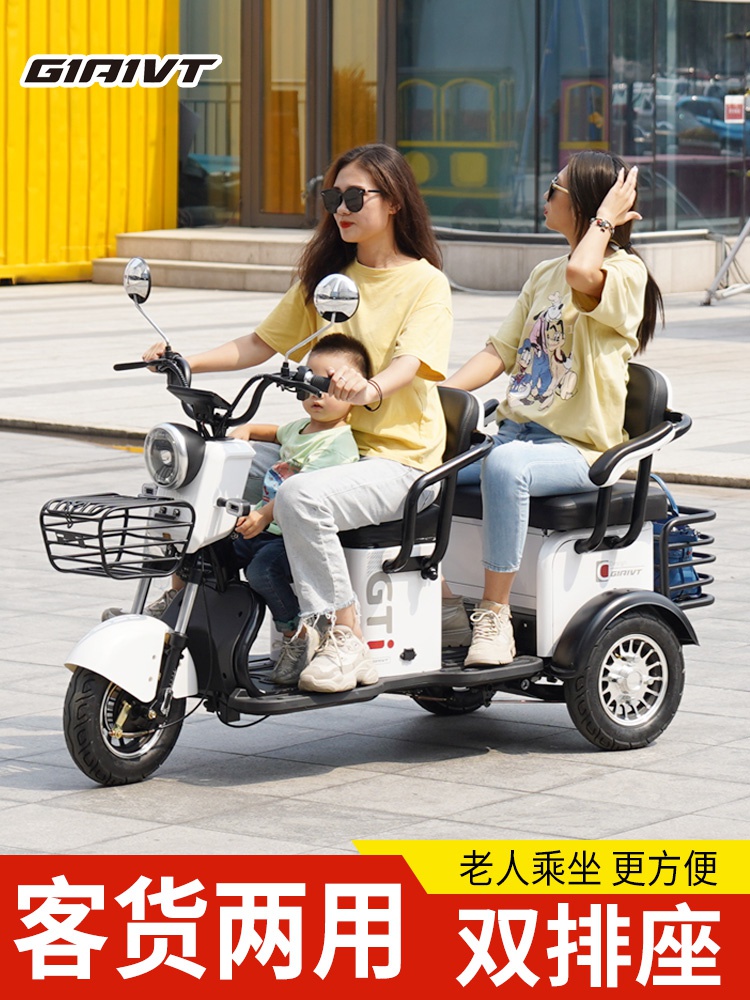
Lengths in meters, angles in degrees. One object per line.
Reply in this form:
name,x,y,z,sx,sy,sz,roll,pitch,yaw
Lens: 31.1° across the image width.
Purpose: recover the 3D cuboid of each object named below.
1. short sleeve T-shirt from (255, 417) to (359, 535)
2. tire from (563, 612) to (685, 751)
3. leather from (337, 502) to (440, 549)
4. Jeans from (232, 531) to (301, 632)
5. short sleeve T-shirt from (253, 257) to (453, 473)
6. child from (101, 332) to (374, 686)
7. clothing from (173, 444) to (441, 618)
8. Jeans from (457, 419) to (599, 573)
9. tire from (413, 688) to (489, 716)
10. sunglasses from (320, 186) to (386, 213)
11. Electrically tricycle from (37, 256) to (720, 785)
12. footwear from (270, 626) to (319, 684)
short sleeve T-shirt,-0.168,-0.053,3.472,0.165,0.257,0.234,14,18,-29
tire,0.707,0.509,3.851,0.457,0.402,0.130,-3,5,-27
leather,0.040,0.064,3.595,0.184,0.066,0.129,-4,3,-34
Jeans,-0.259,0.208,3.558,0.101,0.245,0.202,-29,15,-36
short sleeve T-shirt,-0.013,-0.400,3.899,0.379,0.554,0.643,-15,25,-42
child,-0.518,-0.135,3.867,0.529,0.561,0.926,19,5,-14
clothing,-0.202,0.052,3.568,0.547,0.410,0.321,-25,22,-35
Jeans,0.409,-0.022,3.970,0.483,0.444,0.381,-8,14,-39
tire,0.271,0.608,4.085,0.206,0.060,0.167,-1,0,-31
sunglasses,-0.058,-0.802,3.694,0.110,0.039,0.110,3,5,38
Electrically tricycle,-0.044,0.146,4.140,2.363,1.291,1.053,-2,4,-38
footwear,-0.199,0.396,3.463,0.057,0.149,0.069,24,-16,45
